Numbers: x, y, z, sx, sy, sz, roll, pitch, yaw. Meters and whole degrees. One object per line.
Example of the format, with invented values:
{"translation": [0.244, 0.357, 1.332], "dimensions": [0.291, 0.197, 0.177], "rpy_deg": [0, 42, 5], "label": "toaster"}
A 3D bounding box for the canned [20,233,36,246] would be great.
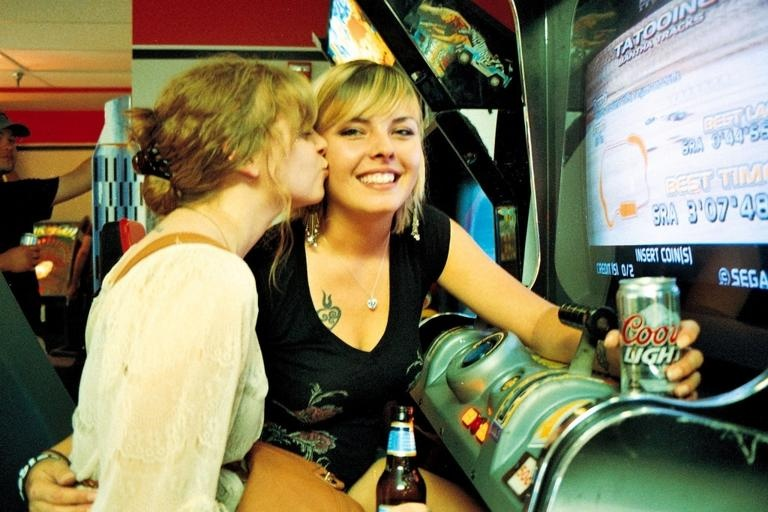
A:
{"translation": [-2.020, -0.098, 3.575], "dimensions": [0.075, 0.077, 0.080], "rpy_deg": [2, 5, 17], "label": "canned"}

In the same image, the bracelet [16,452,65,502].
{"translation": [-0.963, 0.614, 1.762], "dimensions": [0.154, 0.144, 0.082], "rpy_deg": [2, 4, 23], "label": "bracelet"}

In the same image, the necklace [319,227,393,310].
{"translation": [-0.056, 0.066, 2.096], "dimensions": [0.201, 0.279, 0.066], "rpy_deg": [7, -23, -5], "label": "necklace"}
